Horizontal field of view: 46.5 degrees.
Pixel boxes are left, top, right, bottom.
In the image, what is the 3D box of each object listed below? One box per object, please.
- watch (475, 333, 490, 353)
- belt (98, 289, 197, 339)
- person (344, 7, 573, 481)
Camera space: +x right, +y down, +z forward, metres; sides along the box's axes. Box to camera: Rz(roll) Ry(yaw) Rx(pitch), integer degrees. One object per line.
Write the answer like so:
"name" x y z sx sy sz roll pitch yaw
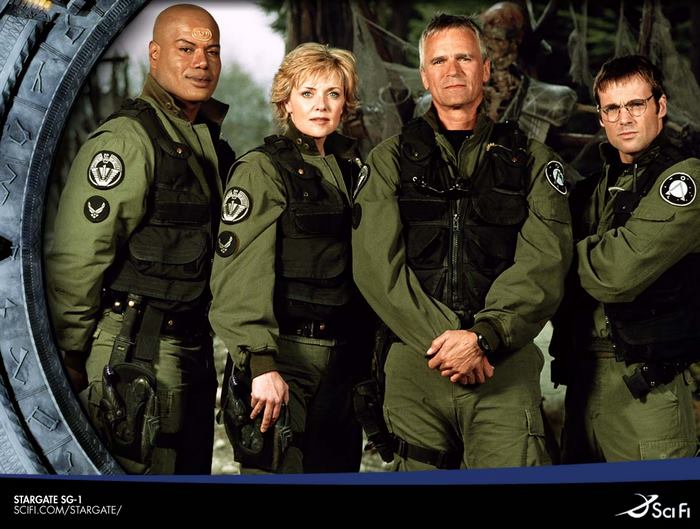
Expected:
"watch" 0.653 0.379 4.003 0.030 0.083 0.062 -36 27 -19
"belt" -1.023 0.274 4.368 0.294 0.154 0.393 18 -4 -42
"person" 0.578 -0.078 4.242 1.109 2.438 0.626 5 9 15
